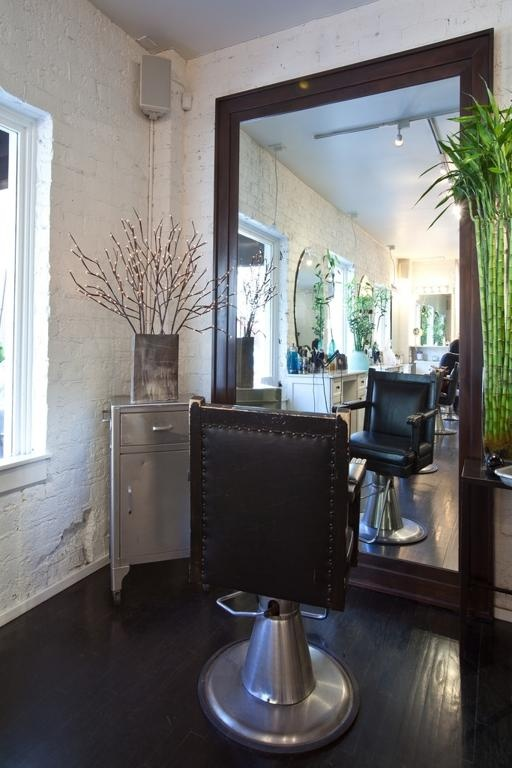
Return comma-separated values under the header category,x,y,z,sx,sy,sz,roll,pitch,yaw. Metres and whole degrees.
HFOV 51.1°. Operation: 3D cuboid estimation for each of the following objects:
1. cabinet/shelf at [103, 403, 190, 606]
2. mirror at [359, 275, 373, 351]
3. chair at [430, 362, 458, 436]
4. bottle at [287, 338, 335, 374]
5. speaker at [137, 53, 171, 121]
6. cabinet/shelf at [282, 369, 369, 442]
category,x,y,z,sx,sy,sz,roll,pitch,yaw
cabinet/shelf,-0.495,0.524,2.583,0.381,0.859,0.285,0,3,-21
mirror,0.547,-0.405,2.653,0.050,0.321,0.008,1,-26,4
chair,0.852,0.065,2.498,0.167,0.332,0.177,1,-5,27
bottle,0.308,-0.133,2.750,0.092,0.241,0.370,0,3,-30
speaker,-0.549,-1.625,2.897,0.155,0.308,0.100,-3,41,-20
cabinet/shelf,0.426,0.118,2.889,0.228,0.395,0.359,-1,7,43
